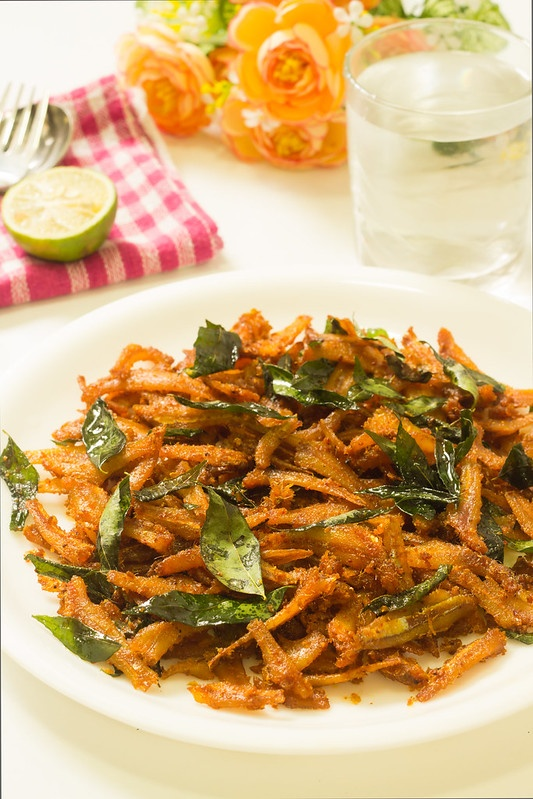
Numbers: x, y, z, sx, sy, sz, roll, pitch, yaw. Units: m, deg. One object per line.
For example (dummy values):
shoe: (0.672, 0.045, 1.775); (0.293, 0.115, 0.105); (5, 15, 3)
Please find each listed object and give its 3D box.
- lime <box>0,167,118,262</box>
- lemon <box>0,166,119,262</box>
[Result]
lime: (-0.427, -0.371, 1.512); (0.241, 0.131, 0.224); (-18, 47, -9)
lemon: (-0.427, -0.392, 1.497); (0.242, 0.127, 0.223); (-15, 47, -7)
